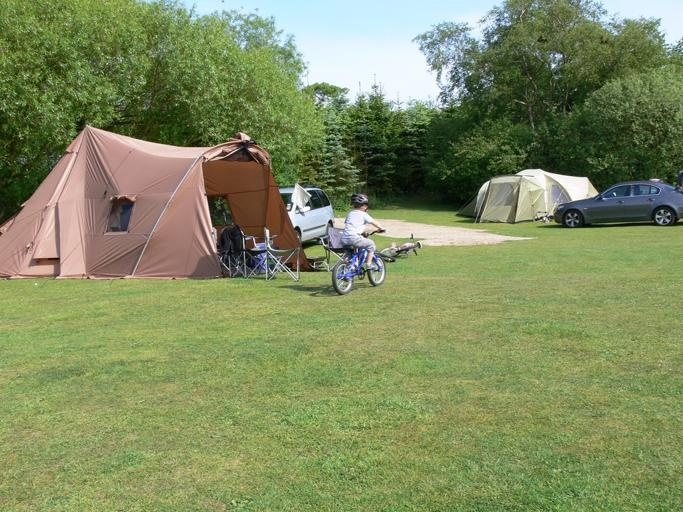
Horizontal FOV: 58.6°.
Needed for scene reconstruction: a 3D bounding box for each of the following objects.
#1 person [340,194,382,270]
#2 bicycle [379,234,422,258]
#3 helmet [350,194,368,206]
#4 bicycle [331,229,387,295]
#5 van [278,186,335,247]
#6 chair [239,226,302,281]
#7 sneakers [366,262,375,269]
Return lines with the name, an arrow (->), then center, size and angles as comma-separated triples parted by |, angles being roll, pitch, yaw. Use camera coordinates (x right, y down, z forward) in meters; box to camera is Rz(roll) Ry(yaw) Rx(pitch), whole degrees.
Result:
person -> 0.409, -0.527, 12.286 | 0.792, 1.497, 1.366 | -1, 13, 4
bicycle -> 1.753, -0.302, 18.245 | 0.830, 0.524, 0.512 | -20, -34, 18
helmet -> 0.359, -1.111, 12.004 | 0.312, 0.283, 0.235 | -18, 12, -27
bicycle -> 0.363, 0.087, 12.087 | 0.922, 1.145, 1.887 | 1, 7, 34
van -> -1.181, -1.373, 19.641 | 1.289, 1.038, 2.201 | -1, 1, 22
chair -> -1.670, 0.021, 14.644 | 1.002, 1.307, 1.632 | -3, 0, -40
sneakers -> 0.563, 0.196, 12.013 | 0.084, 0.095, 0.225 | 2, -9, -43
